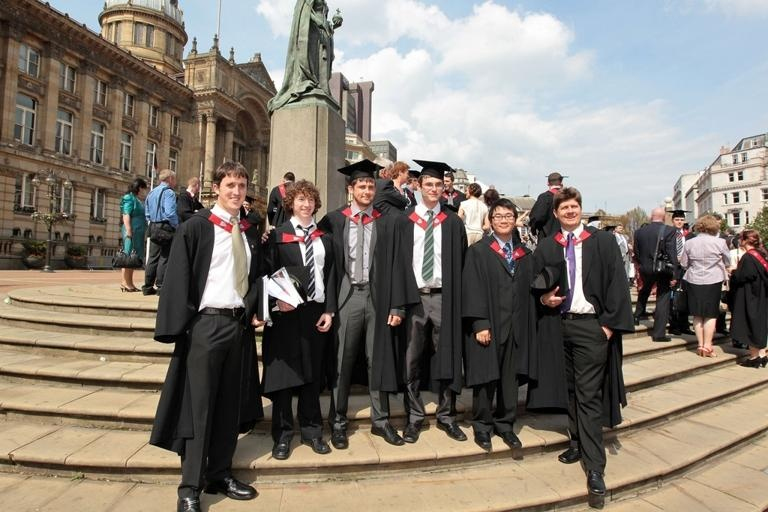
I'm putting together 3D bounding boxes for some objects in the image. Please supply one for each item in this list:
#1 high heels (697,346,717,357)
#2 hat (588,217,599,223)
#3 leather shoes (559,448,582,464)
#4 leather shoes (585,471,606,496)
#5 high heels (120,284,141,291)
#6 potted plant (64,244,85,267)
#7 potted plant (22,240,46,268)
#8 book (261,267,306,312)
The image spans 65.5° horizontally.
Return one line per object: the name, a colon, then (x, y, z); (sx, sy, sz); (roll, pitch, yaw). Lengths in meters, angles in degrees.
high heels: (6.947, 2.055, 12.843); (0.372, 0.140, 0.210); (1, -1, -38)
hat: (4.201, -0.720, 11.968); (0.181, 0.188, 0.187); (-5, 6, 3)
leather shoes: (2.996, 3.223, 9.639); (0.387, 0.143, 0.183); (4, -2, -25)
leather shoes: (3.259, 3.492, 9.161); (0.270, 0.375, 0.201); (-1, -2, 14)
high heels: (-6.106, 0.784, 14.247); (0.349, 0.131, 0.186); (-5, -7, 9)
potted plant: (-16.967, 0.018, 32.668); (0.925, 1.354, 1.498); (1, -2, -18)
potted plant: (-17.393, -0.087, 29.677); (0.975, 1.429, 0.757); (2, -3, -40)
book: (-1.547, 0.501, 9.154); (0.587, 0.556, 0.221); (-20, 0, 6)
